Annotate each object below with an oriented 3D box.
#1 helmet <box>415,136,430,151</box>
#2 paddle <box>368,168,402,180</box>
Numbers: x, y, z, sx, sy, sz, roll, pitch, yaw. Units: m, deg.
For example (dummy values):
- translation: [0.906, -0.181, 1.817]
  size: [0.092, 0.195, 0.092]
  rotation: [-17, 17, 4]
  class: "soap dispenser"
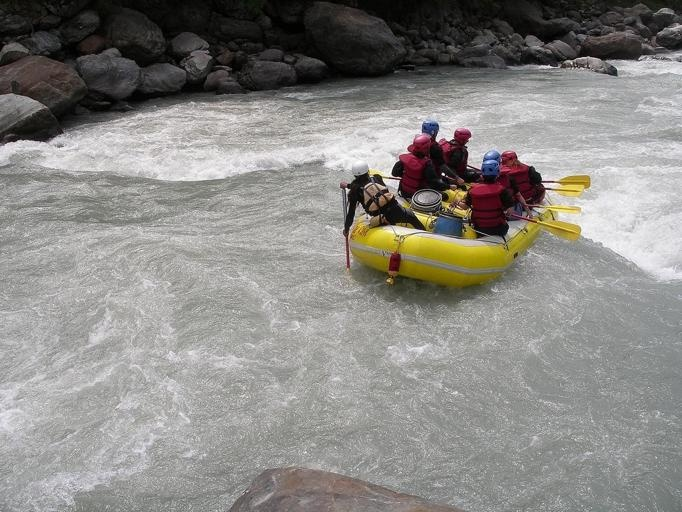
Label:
- translation: [1.373, -1.924, 9.839]
  size: [0.281, 0.256, 0.260]
  rotation: [4, 36, 4]
  class: "helmet"
- translation: [0.753, -1.585, 11.425]
  size: [0.176, 0.205, 1.477]
  rotation: [26, -2, -19]
  class: "paddle"
